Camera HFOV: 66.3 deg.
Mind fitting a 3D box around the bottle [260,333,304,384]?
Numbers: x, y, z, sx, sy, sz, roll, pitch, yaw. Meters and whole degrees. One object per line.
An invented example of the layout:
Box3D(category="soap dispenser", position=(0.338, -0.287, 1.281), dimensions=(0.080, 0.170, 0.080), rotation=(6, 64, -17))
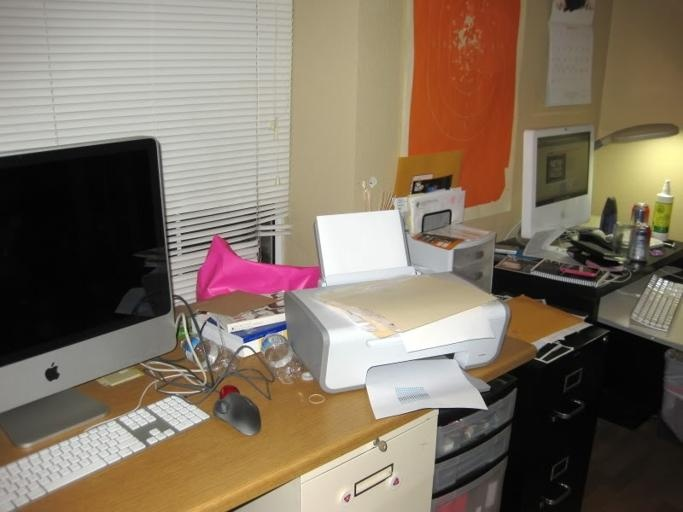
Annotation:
Box3D(category="bottle", position=(-0.169, 0.296, 1.486), dimensions=(0.077, 0.078, 0.124), rotation=(-17, 49, -31))

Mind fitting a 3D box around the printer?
Box3D(category="printer", position=(0.121, 0.178, 1.641), dimensions=(0.551, 0.540, 0.580), rotation=(-7, 24, -28))
